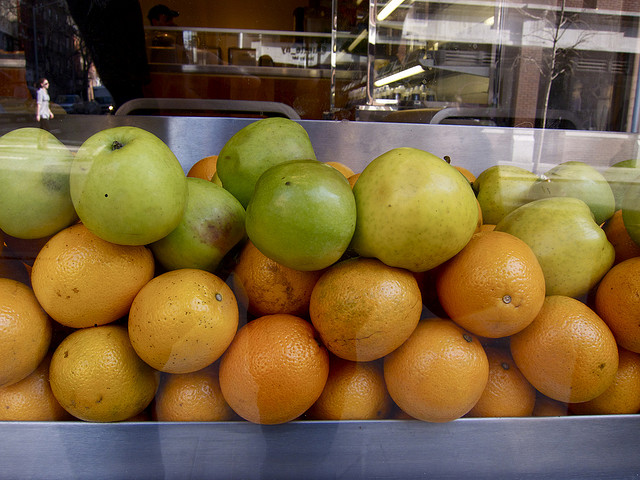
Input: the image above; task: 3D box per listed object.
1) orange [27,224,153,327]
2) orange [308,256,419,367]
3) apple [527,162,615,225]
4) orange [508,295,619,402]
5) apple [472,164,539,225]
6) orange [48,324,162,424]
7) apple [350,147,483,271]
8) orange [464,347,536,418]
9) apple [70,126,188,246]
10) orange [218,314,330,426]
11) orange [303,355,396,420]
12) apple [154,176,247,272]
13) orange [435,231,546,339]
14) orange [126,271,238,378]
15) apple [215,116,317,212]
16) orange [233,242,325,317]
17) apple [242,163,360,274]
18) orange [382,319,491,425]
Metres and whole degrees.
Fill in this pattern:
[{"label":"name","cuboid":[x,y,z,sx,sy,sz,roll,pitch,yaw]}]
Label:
[{"label":"orange","cuboid":[-0.358,0.054,0.812,0.171,0.146,0.140,-8,4,-21]},{"label":"orange","cuboid":[0.106,0.120,0.805,0.131,0.164,0.135,2,13,32]},{"label":"apple","cuboid":[0.464,-0.100,0.938,0.117,0.118,0.124,12,-24,42]},{"label":"orange","cuboid":[0.385,0.176,0.857,0.172,0.142,0.138,34,3,12]},{"label":"apple","cuboid":[0.334,-0.102,0.977,0.128,0.120,0.112,-15,12,1]},{"label":"orange","cuboid":[-0.319,0.202,0.810,0.139,0.159,0.156,-13,-21,37]},{"label":"apple","cuboid":[0.136,-0.048,0.836,0.206,0.214,0.189,21,21,35]},{"label":"orange","cuboid":[0.297,0.237,0.863,0.108,0.113,0.111,-10,22,13]},{"label":"apple","cuboid":[-0.301,-0.075,0.795,0.158,0.169,0.155,-23,19,-24]},{"label":"orange","cuboid":[-0.068,0.186,0.826,0.180,0.169,0.150,-20,-10,-5]},{"label":"orange","cuboid":[0.053,0.241,0.853,0.124,0.112,0.114,7,27,-8]},{"label":"apple","cuboid":[-0.210,-0.014,0.868,0.152,0.149,0.147,-1,41,-18]},{"label":"orange","cuboid":[0.295,0.069,0.838,0.160,0.185,0.180,-5,11,-11]},{"label":"orange","cuboid":[-0.192,0.115,0.820,0.170,0.158,0.147,-23,-9,-5]},{"label":"apple","cuboid":[-0.112,-0.124,0.955,0.168,0.195,0.184,13,-13,-22]},{"label":"orange","cuboid":[-0.075,0.074,0.868,0.130,0.119,0.122,4,44,4]},{"label":"apple","cuboid":[-0.029,-0.034,0.764,0.163,0.149,0.086,0,21,-6]},{"label":"orange","cuboid":[0.185,0.223,0.824,0.157,0.167,0.164,-13,-12,17]}]
